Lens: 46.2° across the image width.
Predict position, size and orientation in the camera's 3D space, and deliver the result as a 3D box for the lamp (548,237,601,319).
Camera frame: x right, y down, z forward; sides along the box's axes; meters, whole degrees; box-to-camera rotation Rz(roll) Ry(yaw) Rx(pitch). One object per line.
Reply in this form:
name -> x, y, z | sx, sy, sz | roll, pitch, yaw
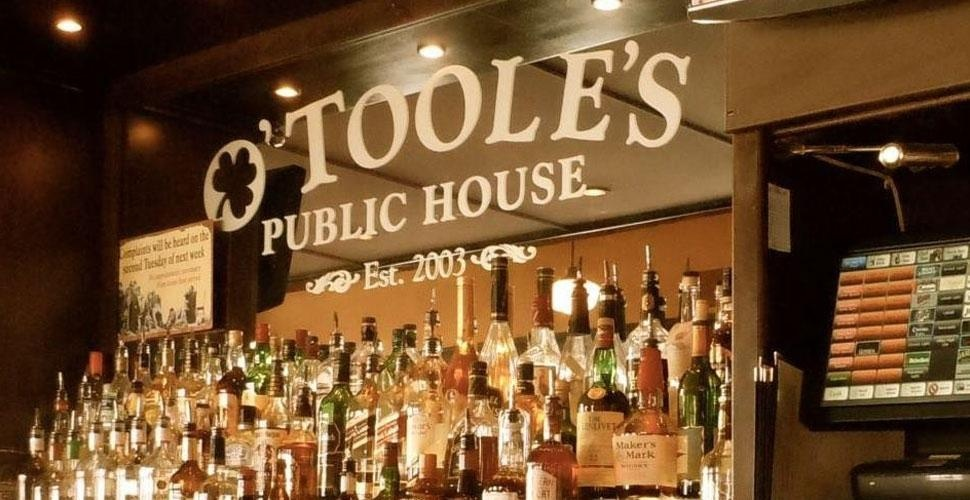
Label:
lamp -> 0.326, 0.095, 4.123 | 0.175, 0.364, 0.489 | -3, -17, 4
